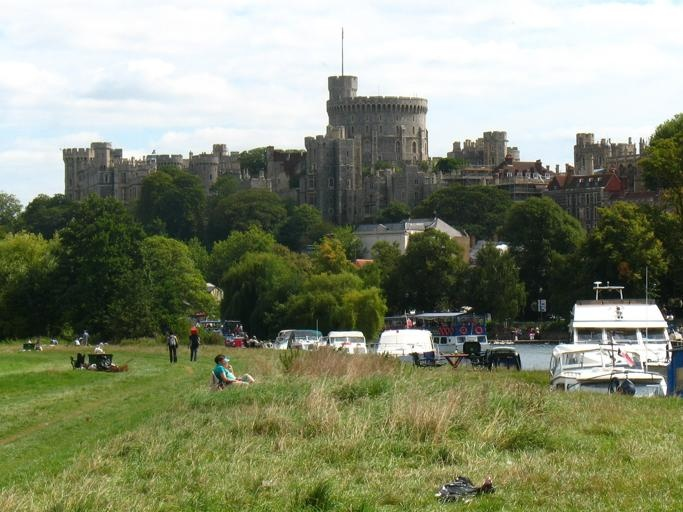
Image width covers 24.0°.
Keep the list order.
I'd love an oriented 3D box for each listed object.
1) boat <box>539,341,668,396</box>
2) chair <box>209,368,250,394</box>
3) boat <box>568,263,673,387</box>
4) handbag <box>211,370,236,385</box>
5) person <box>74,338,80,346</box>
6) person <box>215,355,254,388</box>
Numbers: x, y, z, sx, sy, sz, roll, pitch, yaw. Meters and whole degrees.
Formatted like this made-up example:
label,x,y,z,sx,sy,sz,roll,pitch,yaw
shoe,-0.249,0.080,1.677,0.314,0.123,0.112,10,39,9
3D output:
label,x,y,z,sx,sy,sz,roll,pitch,yaw
boat,10.049,4.175,60.483,4.830,1.695,3.627,1,0,34
chair,-3.928,4.294,57.525,1.307,1.019,0.704,-4,7,-11
boat,12.680,2.948,71.418,3.795,5.407,11.336,0,-4,1
handbag,-4.284,4.296,57.390,0.549,0.479,0.442,-2,9,-15
person,-14.915,4.768,90.273,0.292,0.398,1.034,1,1,-12
person,-3.793,4.150,57.801,1.630,1.255,0.778,3,4,-12
